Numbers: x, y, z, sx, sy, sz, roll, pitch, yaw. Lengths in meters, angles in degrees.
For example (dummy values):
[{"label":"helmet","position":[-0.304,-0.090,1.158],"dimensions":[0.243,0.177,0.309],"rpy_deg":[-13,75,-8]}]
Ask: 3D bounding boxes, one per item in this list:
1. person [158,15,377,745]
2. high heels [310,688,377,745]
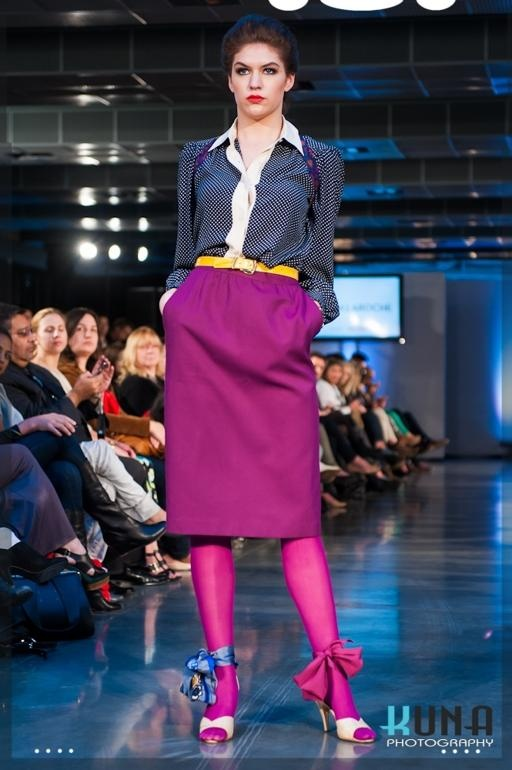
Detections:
[{"label":"person","position":[0.005,-0.026,1.565],"dimensions":[0.373,1.367,0.255],"rpy_deg":[-4,0,5]},{"label":"high heels","position":[0.175,0.624,1.503],"dimensions":[0.059,0.058,0.154],"rpy_deg":[4,-6,-43]}]
